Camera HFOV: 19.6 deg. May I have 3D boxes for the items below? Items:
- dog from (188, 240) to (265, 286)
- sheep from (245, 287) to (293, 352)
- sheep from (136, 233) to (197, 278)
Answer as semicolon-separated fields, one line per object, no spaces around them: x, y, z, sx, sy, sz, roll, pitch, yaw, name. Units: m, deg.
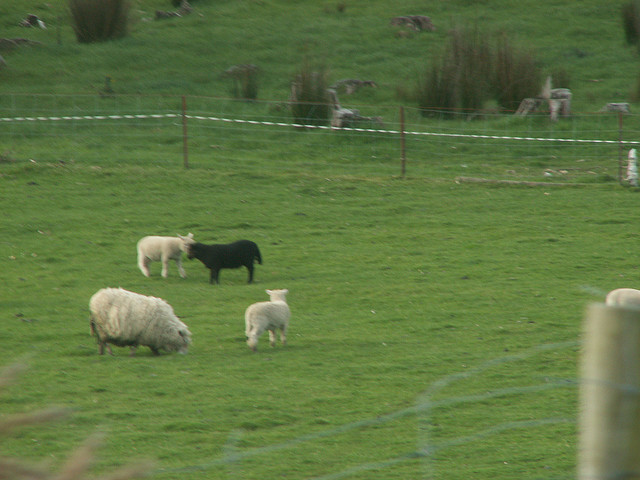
-2.180;0.564;41.881;1.663;0.978;1.347;3;13;16;dog
-1.052;1.735;39.520;1.183;1.174;0.941;-9;15;-28;sheep
-3.553;0.342;41.878;1.654;0.884;0.715;0;2;32;sheep
